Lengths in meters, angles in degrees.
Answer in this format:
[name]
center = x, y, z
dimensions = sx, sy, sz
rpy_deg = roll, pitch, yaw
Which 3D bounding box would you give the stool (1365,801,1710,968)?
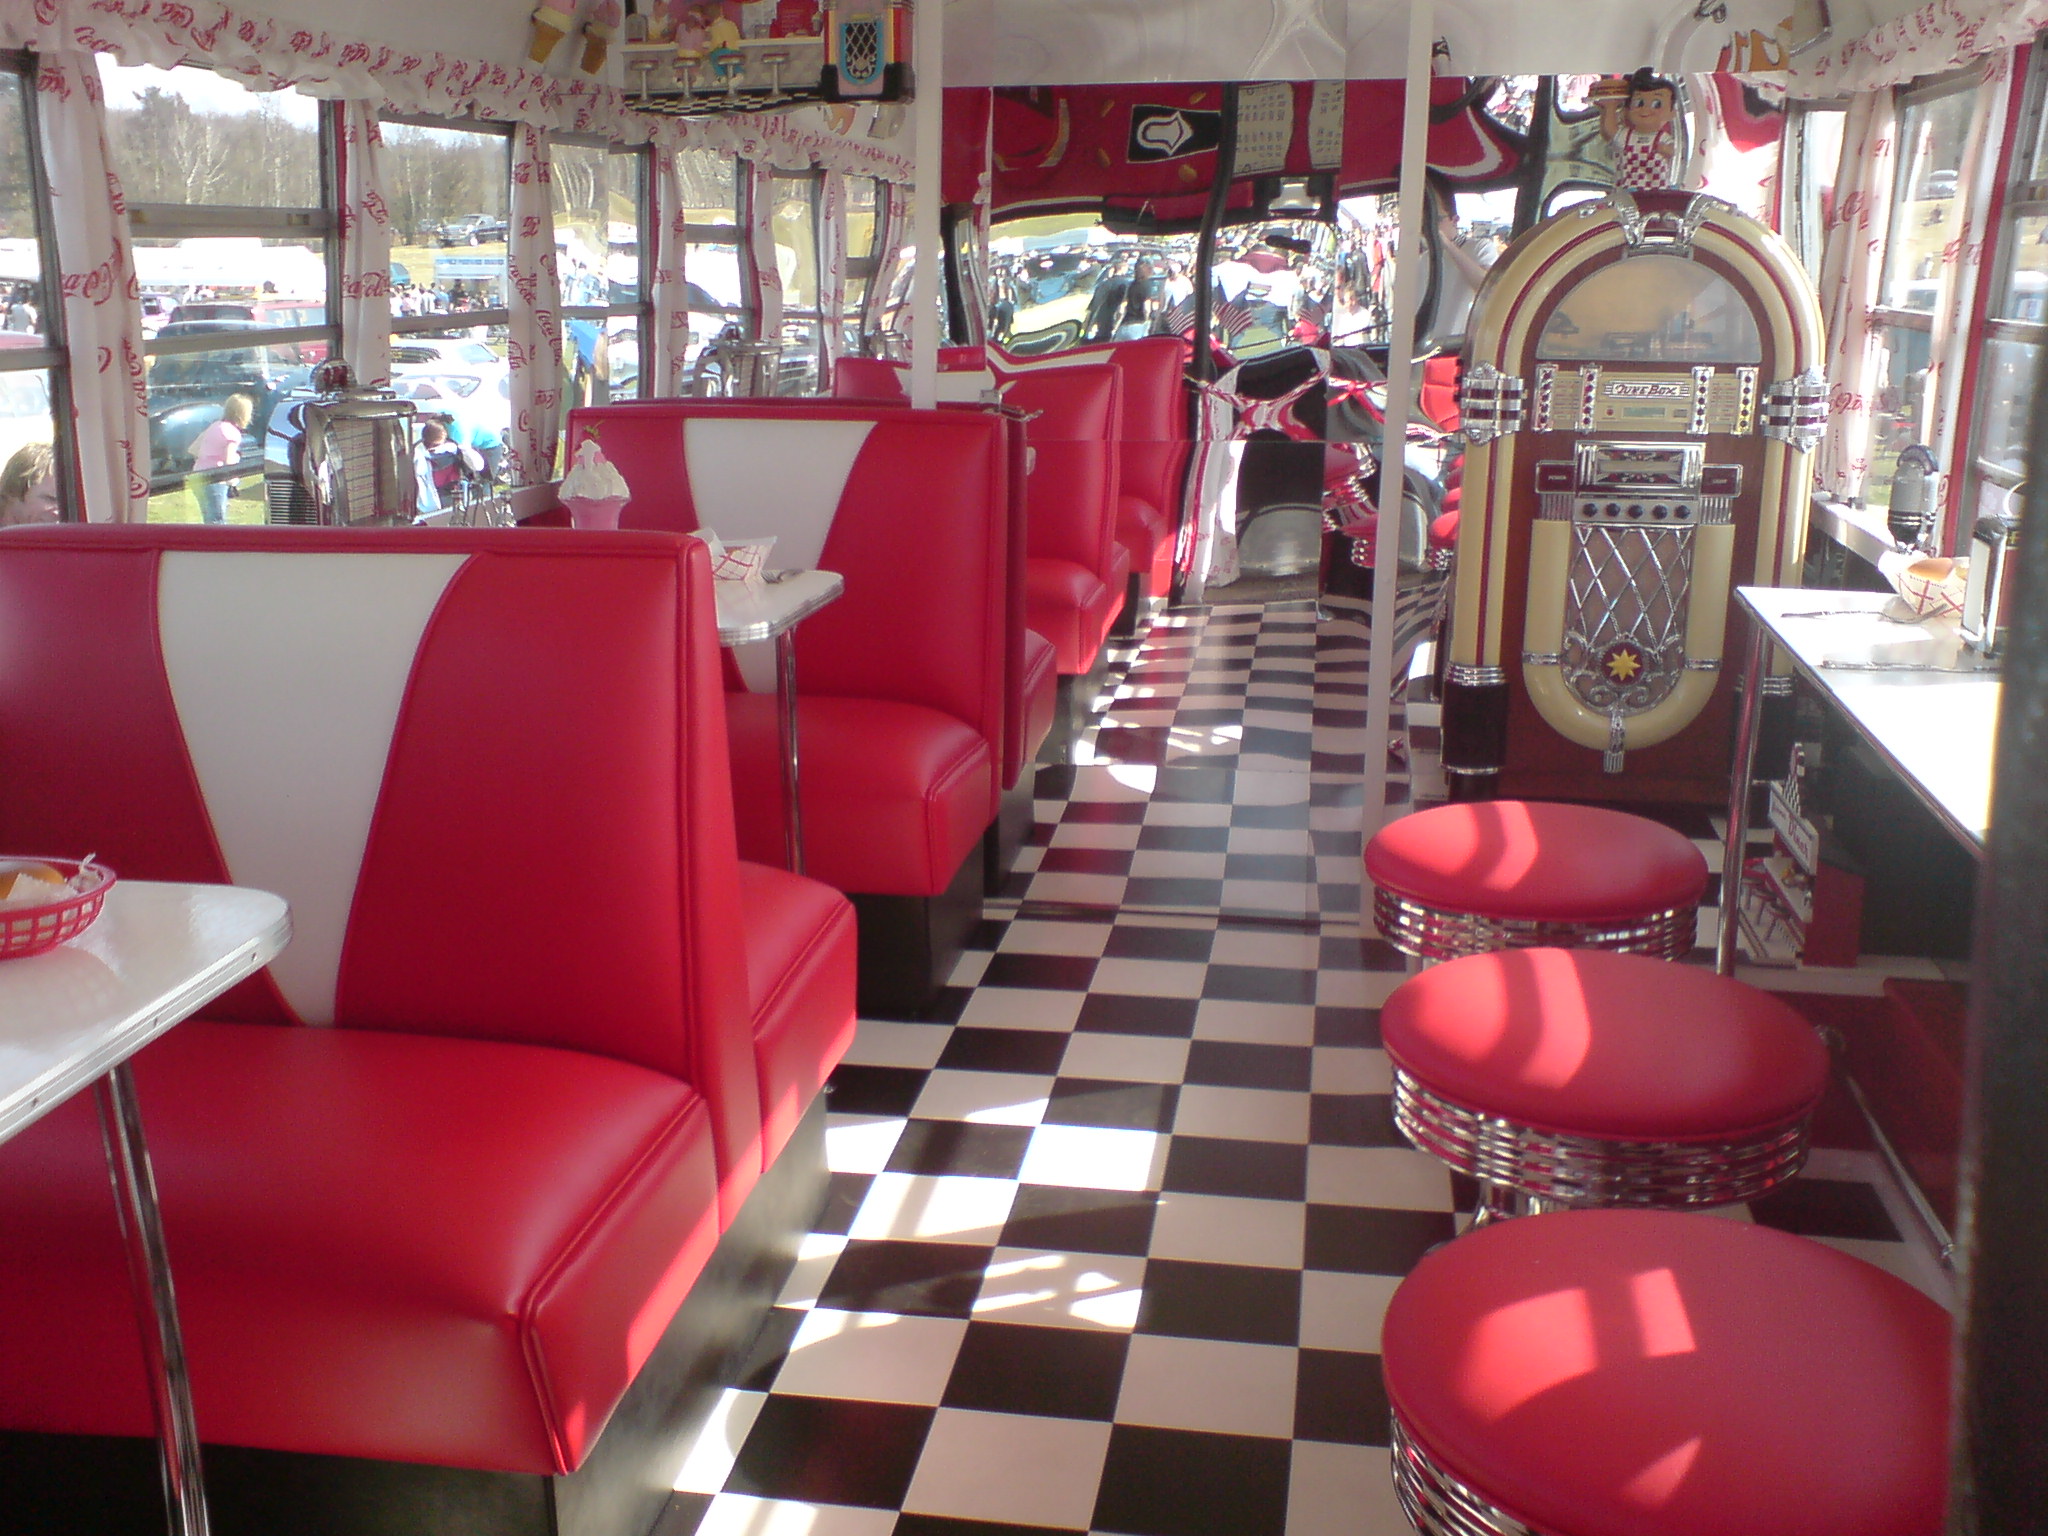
[stool]
center = 0.800, 0.187, 2.413
dimensions = 0.462, 0.162, 0.426
rpy_deg = -8, 19, -18

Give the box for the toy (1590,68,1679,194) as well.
[toy]
center = 1.719, -1.815, 4.321
dimensions = 0.253, 0.430, 0.161
rpy_deg = -3, 19, 8
